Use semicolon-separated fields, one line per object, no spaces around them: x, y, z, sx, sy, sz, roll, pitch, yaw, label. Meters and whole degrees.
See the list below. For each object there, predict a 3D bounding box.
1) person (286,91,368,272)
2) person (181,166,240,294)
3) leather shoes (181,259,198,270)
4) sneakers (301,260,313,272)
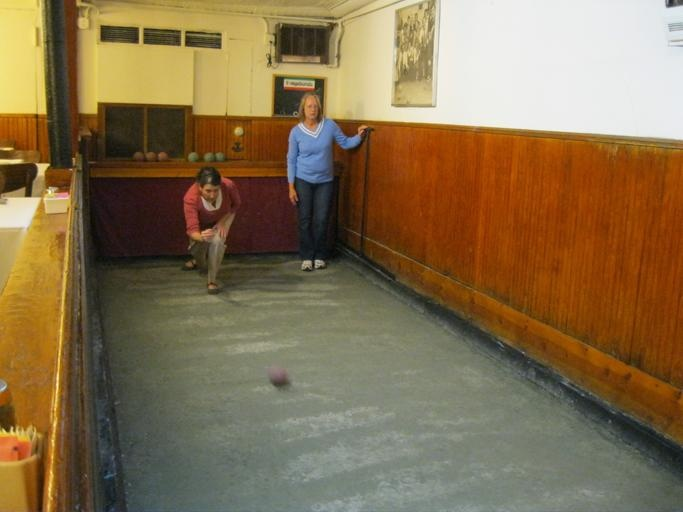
-0.212;-0.896;6.187;0.775;1.981;0.599;-6;15;-21;person
-1.284;-0.304;5.294;0.551;1.242;0.951;-4;15;-14;person
-1.693;0.105;5.921;0.235;0.099;0.135;0;9;-21;leather shoes
-0.394;0.108;6.057;0.137;0.112;0.162;-2;15;-6;sneakers
